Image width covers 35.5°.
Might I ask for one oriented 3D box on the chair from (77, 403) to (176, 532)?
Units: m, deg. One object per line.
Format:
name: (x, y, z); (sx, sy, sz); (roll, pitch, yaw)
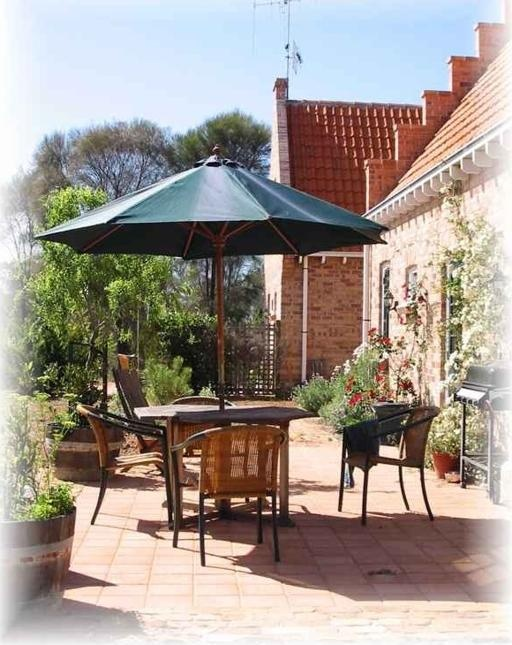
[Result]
chair: (-1.085, 1.103, 6.784); (0.865, 1.197, 1.001); (0, -2, -6)

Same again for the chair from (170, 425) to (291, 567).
chair: (-0.137, 1.176, 5.441); (0.840, 1.234, 0.871); (0, -1, -13)

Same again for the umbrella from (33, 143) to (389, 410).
umbrella: (-0.365, -0.832, 6.697); (2.537, 1.971, 2.546); (-1, 2, -26)

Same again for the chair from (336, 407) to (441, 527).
chair: (1.070, 1.158, 6.667); (0.817, 0.908, 0.878); (7, -6, -39)

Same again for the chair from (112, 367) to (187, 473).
chair: (-1.076, 0.817, 7.766); (0.604, 0.784, 0.502); (2, 1, 42)

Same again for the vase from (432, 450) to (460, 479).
vase: (1.937, 1.454, 8.169); (0.254, 0.210, 0.264); (1, -8, -1)

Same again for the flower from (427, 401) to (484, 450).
flower: (2.037, 1.100, 8.294); (0.466, 0.318, 0.490); (-4, 18, -7)

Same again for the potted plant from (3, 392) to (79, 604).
potted plant: (-1.275, 1.006, 4.710); (0.400, 1.161, 0.763); (1, 2, -13)

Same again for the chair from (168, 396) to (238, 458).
chair: (-0.570, 0.951, 7.606); (0.595, 0.759, 0.549); (-5, -11, 41)
